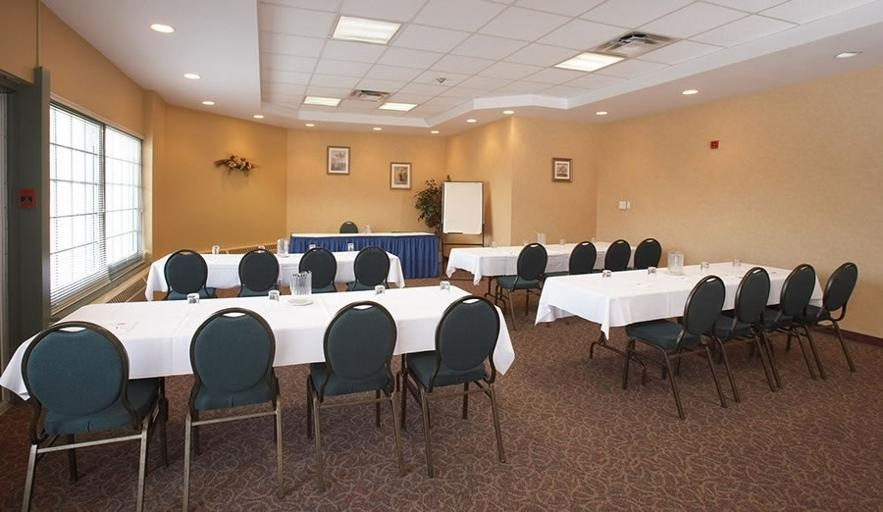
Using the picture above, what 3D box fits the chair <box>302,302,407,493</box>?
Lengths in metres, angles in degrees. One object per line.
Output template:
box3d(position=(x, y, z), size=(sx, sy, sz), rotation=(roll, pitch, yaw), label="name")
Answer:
box3d(position=(-0.917, 1.371, 5.409), size=(0.960, 1.854, 0.741), rotation=(-2, 8, -15), label="chair")

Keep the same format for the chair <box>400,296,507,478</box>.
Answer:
box3d(position=(0.114, 1.296, 5.719), size=(1.132, 1.825, 1.092), rotation=(0, 7, -4), label="chair")

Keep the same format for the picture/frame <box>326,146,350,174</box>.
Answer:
box3d(position=(-2.659, -2.473, 13.153), size=(0.747, 0.825, 0.061), rotation=(-1, 4, -26), label="picture/frame")

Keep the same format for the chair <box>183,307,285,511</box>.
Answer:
box3d(position=(-2.158, 1.446, 5.350), size=(0.952, 1.925, 1.000), rotation=(-2, 8, -18), label="chair")

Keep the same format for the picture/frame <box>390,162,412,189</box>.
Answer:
box3d(position=(-1.093, -2.141, 13.588), size=(0.723, 0.755, 0.082), rotation=(1, 9, -18), label="picture/frame")

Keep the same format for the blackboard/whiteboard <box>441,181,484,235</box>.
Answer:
box3d(position=(0.514, -1.132, 12.049), size=(1.292, 1.503, 0.149), rotation=(2, 1, 6), label="blackboard/whiteboard")
